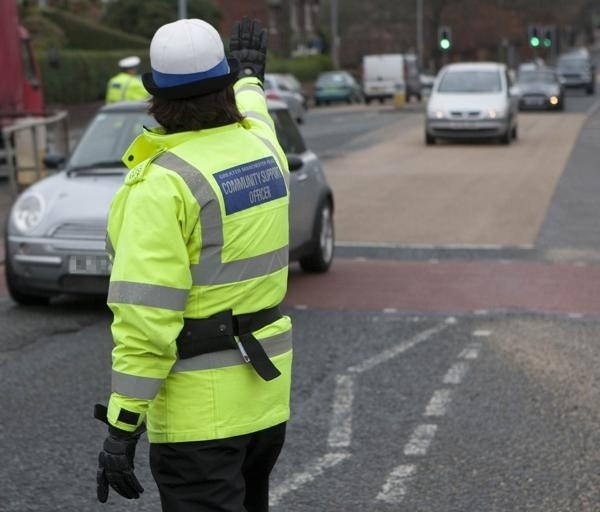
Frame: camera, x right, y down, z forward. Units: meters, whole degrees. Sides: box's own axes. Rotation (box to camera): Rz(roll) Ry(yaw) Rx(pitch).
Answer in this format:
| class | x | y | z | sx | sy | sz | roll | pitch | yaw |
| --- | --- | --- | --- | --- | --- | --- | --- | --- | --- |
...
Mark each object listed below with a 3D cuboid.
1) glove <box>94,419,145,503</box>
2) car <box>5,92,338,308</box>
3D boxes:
| class | x | y | z | sx | sy | sz | roll | pitch | yaw |
| --- | --- | --- | --- | --- | --- | --- | --- | --- | --- |
| glove | -0.614 | 0.701 | 3.772 | 0.172 | 0.321 | 0.181 | -4 | 11 | -6 |
| car | -1.037 | -0.524 | 9.411 | 1.509 | 1.354 | 2.727 | 0 | 4 | 26 |
